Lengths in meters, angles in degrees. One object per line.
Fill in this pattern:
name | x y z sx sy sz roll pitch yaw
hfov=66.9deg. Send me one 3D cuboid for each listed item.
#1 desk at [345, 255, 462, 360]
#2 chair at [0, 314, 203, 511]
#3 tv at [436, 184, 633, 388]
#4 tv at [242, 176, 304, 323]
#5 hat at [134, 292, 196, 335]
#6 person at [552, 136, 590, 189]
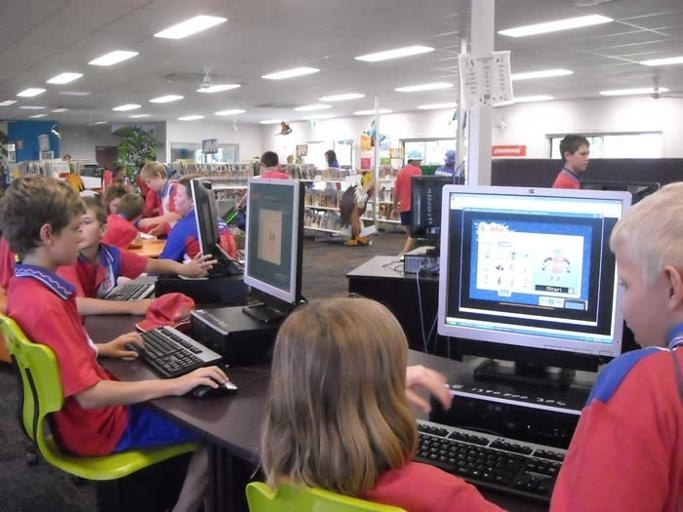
desk | 0.452 0.289 3.243 0.740 0.721 0.536 11 23 31
chair | -0.824 0.501 1.852 0.539 0.502 0.599 -8 11 -41
tv | 0.541 0.079 1.467 0.544 0.576 0.185 2 2 25
tv | -0.246 -0.023 1.884 0.184 0.527 0.513 1 3 -24
hat | -0.743 0.212 2.180 0.151 0.064 0.202 11 24 37
person | 1.882 -0.813 4.251 0.249 0.459 1.777 6 11 23
